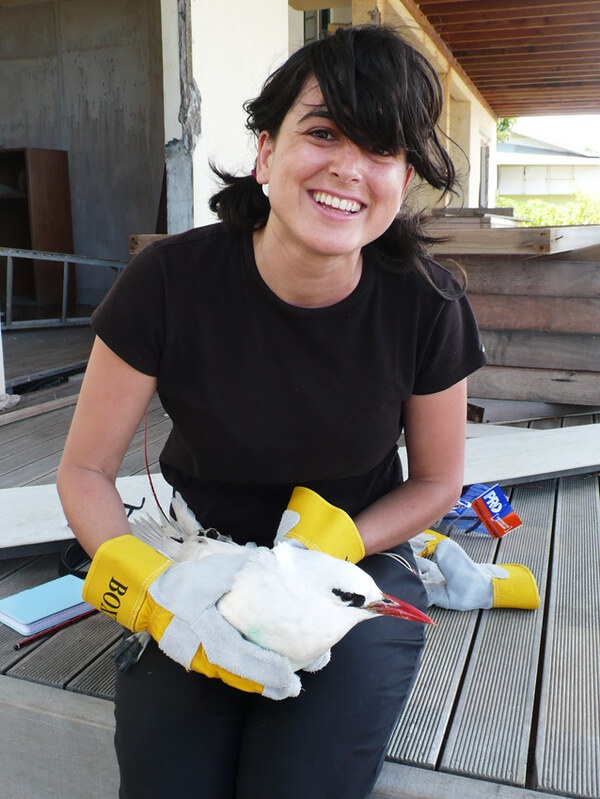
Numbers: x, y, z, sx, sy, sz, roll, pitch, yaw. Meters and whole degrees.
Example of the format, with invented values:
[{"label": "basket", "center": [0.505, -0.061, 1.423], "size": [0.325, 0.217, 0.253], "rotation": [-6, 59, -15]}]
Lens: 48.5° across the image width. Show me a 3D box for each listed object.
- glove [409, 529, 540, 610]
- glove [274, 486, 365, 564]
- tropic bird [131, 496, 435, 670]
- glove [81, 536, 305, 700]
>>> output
[{"label": "glove", "center": [0.382, 0.366, 1.445], "size": [0.218, 0.081, 0.152], "rotation": [0, 12, -4]}, {"label": "glove", "center": [0.025, 0.198, 1.046], "size": [0.079, 0.110, 0.064], "rotation": [-48, 8, -29]}, {"label": "tropic bird", "center": [-0.055, 0.274, 0.989], "size": [0.497, 0.169, 0.256], "rotation": [3, 13, 17]}, {"label": "glove", "center": [-0.141, 0.327, 0.955], "size": [0.270, 0.109, 0.171], "rotation": [18, 52, 26]}]
